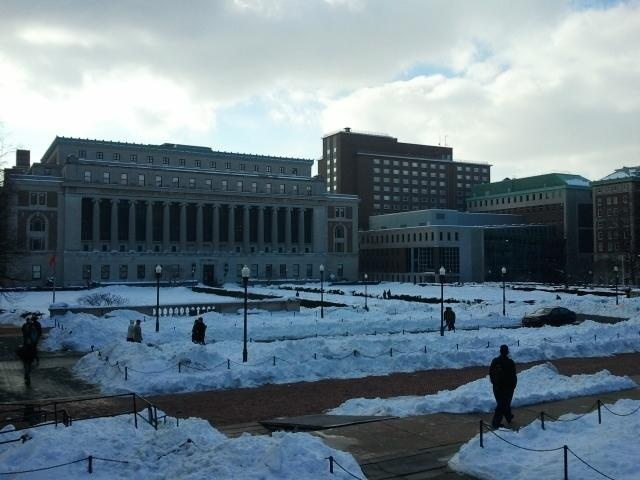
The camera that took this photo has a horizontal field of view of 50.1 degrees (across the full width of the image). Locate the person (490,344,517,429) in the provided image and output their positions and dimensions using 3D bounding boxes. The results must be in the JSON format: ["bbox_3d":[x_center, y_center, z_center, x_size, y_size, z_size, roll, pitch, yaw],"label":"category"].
[{"bbox_3d":[7.160,5.762,27.036,0.951,3.149,1.477,2,2,15],"label":"person"}]

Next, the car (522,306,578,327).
[{"bbox_3d":[17.550,5.882,52.545,3.624,1.124,1.621,4,-7,-22],"label":"car"}]
